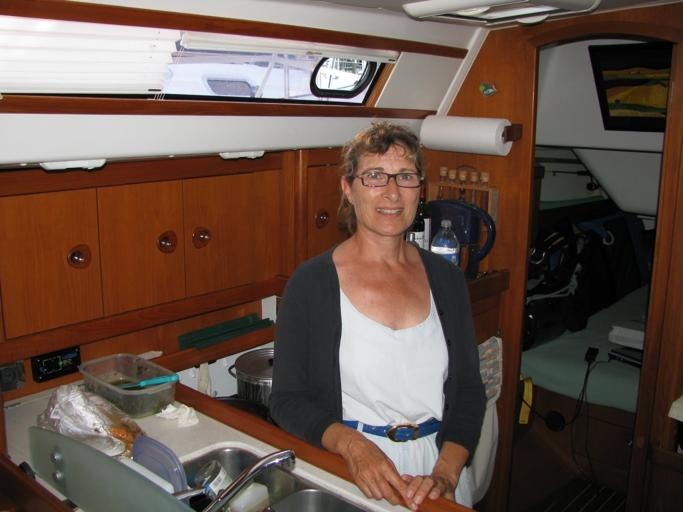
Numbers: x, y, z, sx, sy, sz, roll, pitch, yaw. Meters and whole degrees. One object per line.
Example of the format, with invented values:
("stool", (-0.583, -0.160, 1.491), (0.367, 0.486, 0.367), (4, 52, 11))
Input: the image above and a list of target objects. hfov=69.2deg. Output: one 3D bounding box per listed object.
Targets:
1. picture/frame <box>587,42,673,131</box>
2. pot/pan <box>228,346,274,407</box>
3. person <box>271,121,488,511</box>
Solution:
("picture/frame", (1.786, -1.041, 3.103), (0.448, 0.516, 0.742), (11, 19, 32))
("pot/pan", (-0.363, 0.475, 2.037), (0.276, 0.193, 0.218), (2, 11, -3))
("person", (0.118, 0.134, 1.397), (0.580, 0.978, 0.643), (7, 17, 21))
